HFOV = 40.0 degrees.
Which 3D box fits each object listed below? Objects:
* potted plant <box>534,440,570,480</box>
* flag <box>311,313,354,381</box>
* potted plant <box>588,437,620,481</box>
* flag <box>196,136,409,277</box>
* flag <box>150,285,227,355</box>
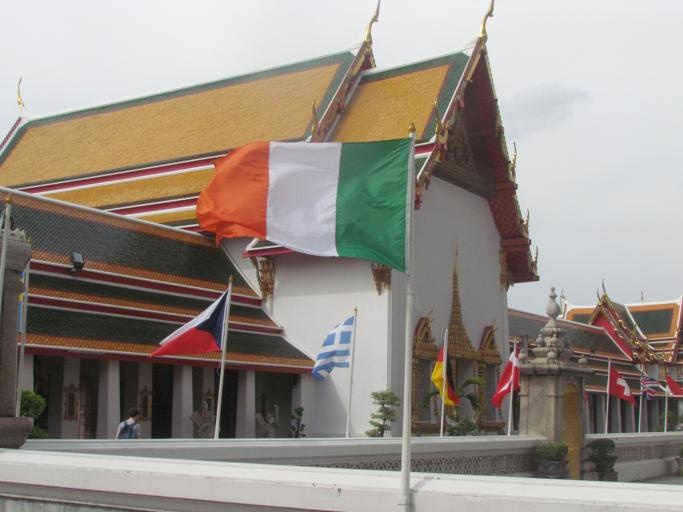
[{"bbox_3d":[3.849,3.730,17.171,0.615,0.610,0.585,0,-7,5],"label":"potted plant"},{"bbox_3d":[-0.148,1.692,17.765,0.805,1.078,0.627,0,-7,8],"label":"flag"},{"bbox_3d":[5.323,4.130,19.121,0.570,0.825,0.919,-1,-7,16],"label":"potted plant"},{"bbox_3d":[-0.513,-0.468,11.930,3.320,2.139,0.687,0,-10,29],"label":"flag"},{"bbox_3d":[-2.236,1.007,14.056,1.204,1.301,0.070,-2,30,-28],"label":"flag"}]
